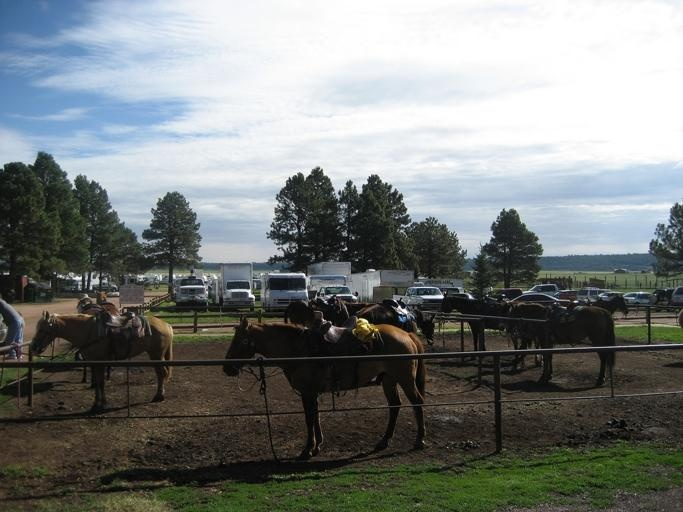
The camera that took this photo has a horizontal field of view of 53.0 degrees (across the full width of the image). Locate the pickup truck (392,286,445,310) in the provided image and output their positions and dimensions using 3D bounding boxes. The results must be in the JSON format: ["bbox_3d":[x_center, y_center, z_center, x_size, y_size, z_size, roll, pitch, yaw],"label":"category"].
[{"bbox_3d":[4.985,2.448,39.962,2.079,1.342,3.240,0,-2,-19],"label":"pickup truck"}]

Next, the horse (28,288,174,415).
[{"bbox_3d":[-5.025,2.193,14.670,2.714,2.050,1.521,-1,4,-16],"label":"horse"}]

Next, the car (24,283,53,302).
[{"bbox_3d":[-27.059,3.357,60.695,2.066,1.349,2.033,0,-1,34],"label":"car"}]
